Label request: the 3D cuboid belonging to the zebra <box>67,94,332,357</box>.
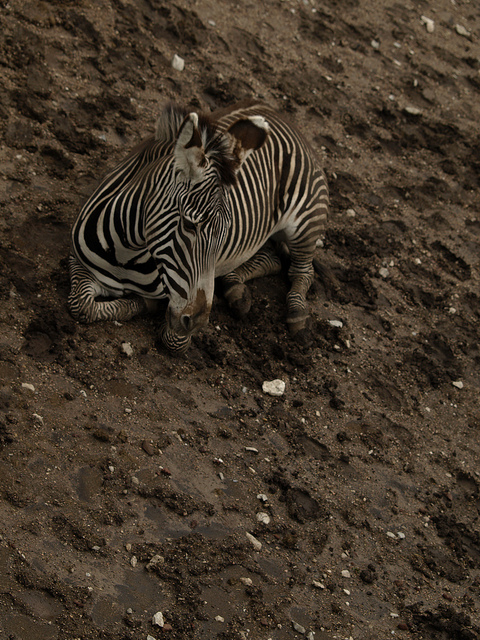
[{"bbox_3d":[-0.038,-0.727,5.809,1.155,1.332,1.937,33,32,10],"label":"zebra"}]
